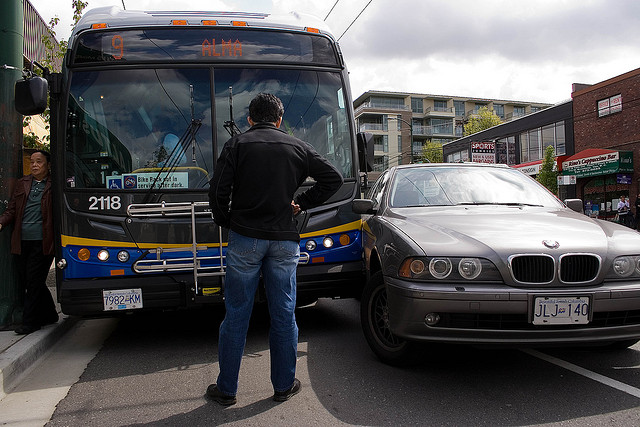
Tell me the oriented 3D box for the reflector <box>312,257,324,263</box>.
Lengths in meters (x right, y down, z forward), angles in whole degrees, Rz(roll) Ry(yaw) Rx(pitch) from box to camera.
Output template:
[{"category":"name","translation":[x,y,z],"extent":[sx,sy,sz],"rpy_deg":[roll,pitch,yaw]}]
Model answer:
[{"category":"reflector","translation":[-0.018,0.631,6.360],"extent":[0.159,0.065,0.005],"rpy_deg":[-3,4,-15]}]

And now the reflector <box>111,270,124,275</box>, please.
[{"category":"reflector","translation":[-2.553,0.752,5.989],"extent":[0.153,0.059,0.010],"rpy_deg":[-2,3,-3]}]

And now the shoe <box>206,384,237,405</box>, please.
[{"category":"shoe","translation":[-0.972,1.785,4.690],"extent":[0.305,0.147,0.136],"rpy_deg":[17,15,42]}]

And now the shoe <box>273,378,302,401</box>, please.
[{"category":"shoe","translation":[-0.309,1.786,4.767],"extent":[0.107,0.132,0.300],"rpy_deg":[3,11,25]}]

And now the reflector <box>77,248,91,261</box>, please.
[{"category":"reflector","translation":[-2.975,0.524,5.979],"extent":[0.140,0.156,0.029],"rpy_deg":[-1,3,7]}]

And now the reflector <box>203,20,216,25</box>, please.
[{"category":"reflector","translation":[-1.511,-2.615,6.501],"extent":[0.168,0.075,0.041],"rpy_deg":[-3,4,-9]}]

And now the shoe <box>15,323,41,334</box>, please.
[{"category":"shoe","translation":[-3.951,1.577,6.401],"extent":[0.105,0.129,0.318],"rpy_deg":[-6,-13,25]}]

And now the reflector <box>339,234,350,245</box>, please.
[{"category":"reflector","translation":[0.346,0.364,6.497],"extent":[0.145,0.139,0.018],"rpy_deg":[-4,4,-26]}]

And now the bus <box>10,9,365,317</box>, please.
[{"category":"bus","translation":[-2.246,-0.569,8.499],"extent":[3.281,3.098,5.228],"rpy_deg":[0,-5,-16]}]

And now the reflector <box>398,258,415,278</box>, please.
[{"category":"reflector","translation":[0.867,0.560,4.779],"extent":[0.129,0.190,0.060],"rpy_deg":[10,3,41]}]
